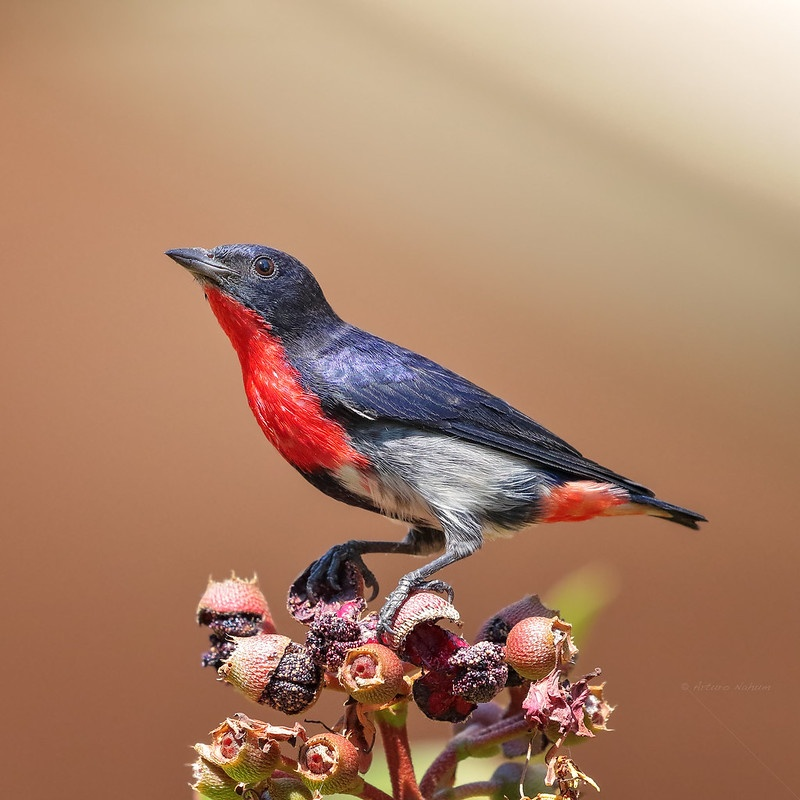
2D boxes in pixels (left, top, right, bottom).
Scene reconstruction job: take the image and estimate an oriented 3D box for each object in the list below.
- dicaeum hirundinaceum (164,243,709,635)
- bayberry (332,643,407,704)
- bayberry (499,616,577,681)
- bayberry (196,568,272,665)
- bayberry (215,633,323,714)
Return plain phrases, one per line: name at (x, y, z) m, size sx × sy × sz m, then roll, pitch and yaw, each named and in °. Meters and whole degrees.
dicaeum hirundinaceum at (0.087, 0.083, 2.263) m, size 1.180 × 0.553 × 0.363 m, roll 8°, pitch -16°, yaw -24°
bayberry at (-0.043, 0.440, 1.764) m, size 0.101 × 0.091 × 0.098 m, roll -16°, pitch -40°, yaw 1°
bayberry at (0.219, 0.393, 1.804) m, size 0.144 × 0.093 × 0.080 m, roll -11°, pitch -66°, yaw -3°
bayberry at (-0.263, 0.390, 1.921) m, size 0.175 × 0.141 × 0.136 m, roll 16°, pitch -30°, yaw -33°
bayberry at (-0.218, 0.447, 1.846) m, size 0.173 × 0.112 × 0.100 m, roll 23°, pitch -34°, yaw 6°
